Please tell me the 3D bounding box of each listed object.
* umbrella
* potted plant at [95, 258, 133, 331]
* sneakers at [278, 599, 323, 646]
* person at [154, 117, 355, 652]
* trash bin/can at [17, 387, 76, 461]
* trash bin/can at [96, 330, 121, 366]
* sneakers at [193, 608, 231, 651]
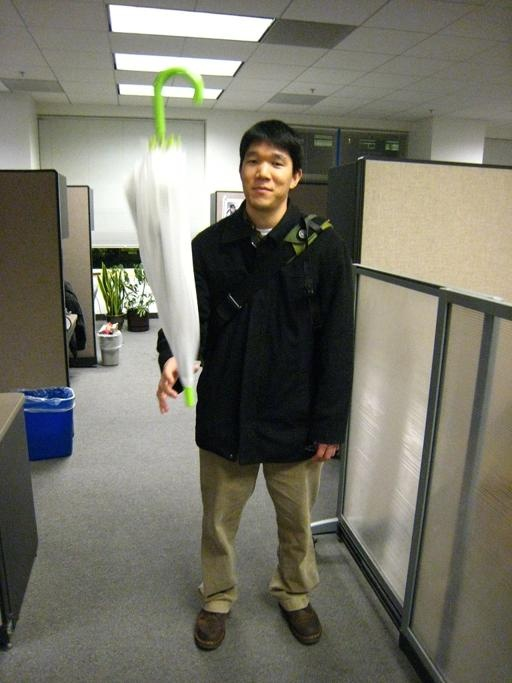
[{"bbox_3d":[-0.081,-0.086,0.454,0.064,0.322,0.192,0,10,-6],"label":"umbrella"},{"bbox_3d":[-1.558,-0.397,5.533,0.331,0.684,0.276,2,2,36],"label":"potted plant"},{"bbox_3d":[0.148,0.835,1.486,0.052,0.058,0.139,-2,15,-17],"label":"sneakers"},{"bbox_3d":[-0.005,0.130,1.318,0.470,1.357,0.401,1,7,1],"label":"person"},{"bbox_3d":[-1.110,0.417,2.732,0.289,0.312,0.243,-3,11,-18],"label":"trash bin/can"},{"bbox_3d":[-1.337,0.059,4.561,0.197,0.316,0.255,-2,11,-19],"label":"trash bin/can"},{"bbox_3d":[-0.131,0.847,1.505,0.084,0.069,0.186,13,2,3],"label":"sneakers"}]
